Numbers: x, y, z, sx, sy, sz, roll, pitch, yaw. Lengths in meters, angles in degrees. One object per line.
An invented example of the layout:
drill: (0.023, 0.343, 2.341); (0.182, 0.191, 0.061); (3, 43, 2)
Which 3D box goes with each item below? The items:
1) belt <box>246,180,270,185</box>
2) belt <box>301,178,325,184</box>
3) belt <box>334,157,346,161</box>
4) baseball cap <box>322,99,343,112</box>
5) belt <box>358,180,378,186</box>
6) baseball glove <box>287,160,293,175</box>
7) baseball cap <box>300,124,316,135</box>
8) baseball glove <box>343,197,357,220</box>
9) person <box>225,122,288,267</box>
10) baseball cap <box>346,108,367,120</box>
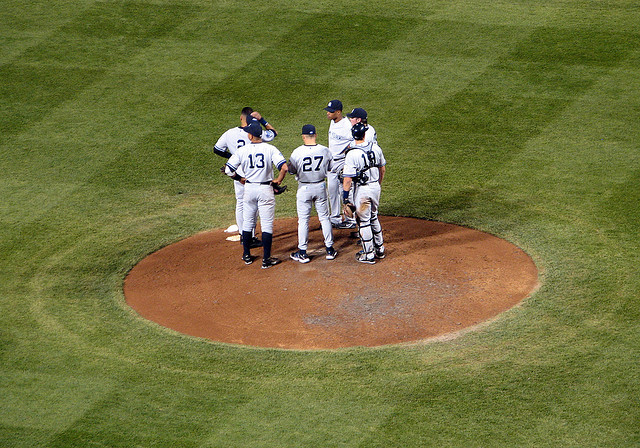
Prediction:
belt: (-1.159, -0.762, 17.194); (0.436, 0.074, 0.088); (2, 24, 8)
belt: (-0.150, -0.784, 17.340); (0.403, 0.069, 0.060); (-1, 24, 0)
belt: (0.351, -1.246, 18.068); (0.198, 0.108, 0.205); (0, 22, 2)
baseball cap: (0.217, -2.237, 17.818); (0.357, 0.152, 0.200); (-1, 30, -3)
belt: (0.843, -0.738, 17.232); (0.323, 0.074, 0.077); (-4, 24, -8)
baseball glove: (-0.572, -1.047, 17.199); (0.076, 0.257, 0.091); (-4, 26, -3)
baseball cap: (-0.232, -1.744, 17.257); (0.221, 0.213, 0.225); (-2, 24, 0)
baseball glove: (0.534, -0.305, 17.241); (0.248, 0.453, 0.310); (-6, 25, -9)
person: (-1.151, -0.554, 17.335); (1.058, 2.557, 1.203); (-7, 26, -11)
baseball cap: (0.655, -2.033, 17.462); (0.376, 0.167, 0.224); (5, 22, 0)
